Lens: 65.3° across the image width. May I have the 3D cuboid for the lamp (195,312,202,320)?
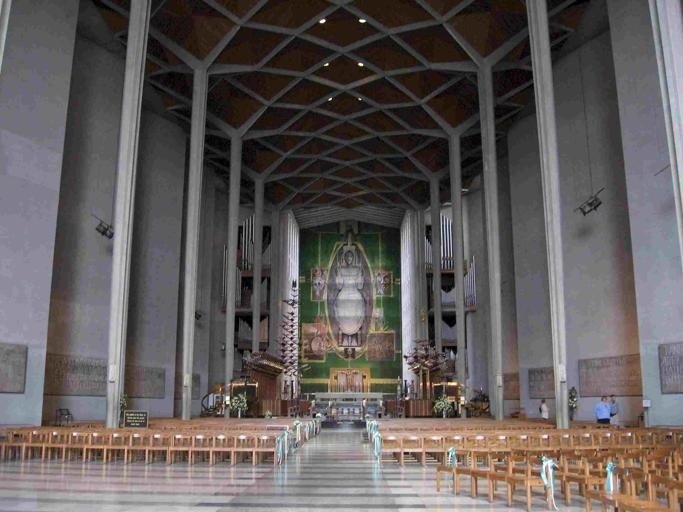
[{"bbox_3d":[-9.450,3.952,35.184,0.382,0.339,0.643,-1,-10,-6],"label":"lamp"}]

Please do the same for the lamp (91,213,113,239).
[{"bbox_3d":[-11.082,-1.440,24.712,0.962,1.125,1.300,6,-18,-28],"label":"lamp"}]
